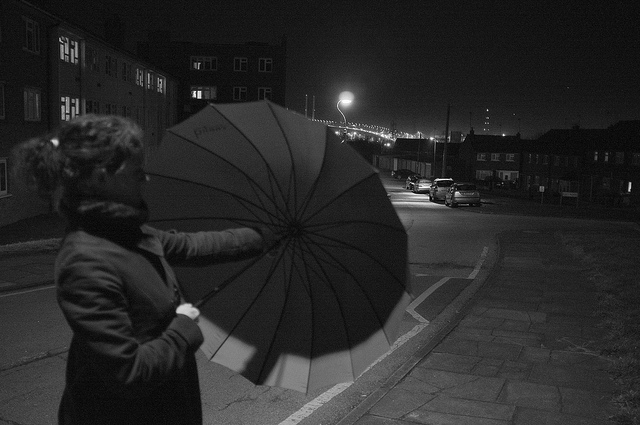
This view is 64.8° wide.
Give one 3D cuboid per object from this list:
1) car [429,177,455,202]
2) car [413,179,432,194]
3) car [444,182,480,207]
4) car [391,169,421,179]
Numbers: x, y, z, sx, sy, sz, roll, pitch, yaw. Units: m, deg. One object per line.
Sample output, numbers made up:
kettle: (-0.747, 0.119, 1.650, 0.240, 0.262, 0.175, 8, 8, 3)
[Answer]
car: (10.974, -2.152, 46.003, 1.341, 1.308, 2.436, 0, 13, 5)
car: (11.297, -2.856, 55.012, 1.284, 1.095, 3.205, 0, 11, 7)
car: (11.474, -1.387, 40.835, 2.217, 1.886, 2.125, -3, 5, -12)
car: (14.589, -6.482, 86.979, 3.193, 1.188, 1.640, -7, 12, 6)
